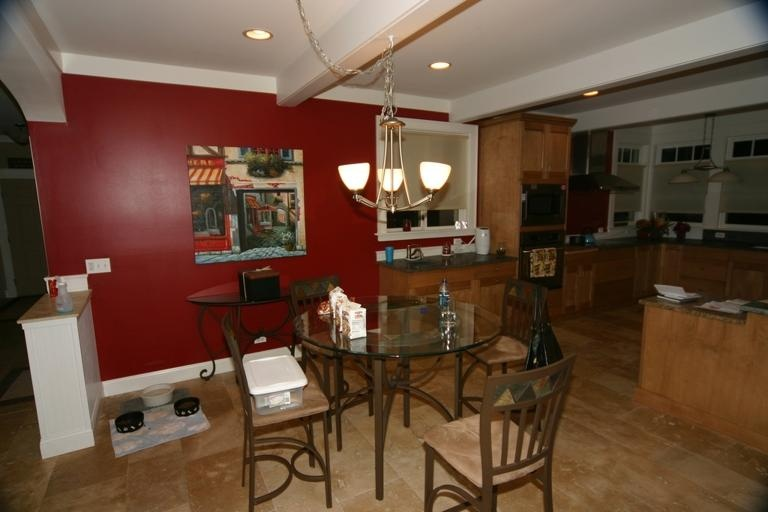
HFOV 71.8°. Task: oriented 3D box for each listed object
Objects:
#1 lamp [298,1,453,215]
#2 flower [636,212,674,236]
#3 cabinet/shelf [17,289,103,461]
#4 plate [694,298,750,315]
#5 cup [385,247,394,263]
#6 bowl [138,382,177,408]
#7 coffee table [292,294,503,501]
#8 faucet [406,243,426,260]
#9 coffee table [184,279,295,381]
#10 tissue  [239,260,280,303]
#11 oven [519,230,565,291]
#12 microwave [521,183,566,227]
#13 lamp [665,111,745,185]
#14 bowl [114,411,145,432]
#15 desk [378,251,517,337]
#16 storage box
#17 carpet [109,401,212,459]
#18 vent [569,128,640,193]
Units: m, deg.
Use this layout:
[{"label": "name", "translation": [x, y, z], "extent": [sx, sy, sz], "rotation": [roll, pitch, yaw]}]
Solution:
[{"label": "lamp", "translation": [0.040, -1.451, 5.802], "extent": [1.507, 1.981, 2.836], "rotation": [-4, 7, 1]}, {"label": "flower", "translation": [4.420, -0.489, 8.643], "extent": [0.459, 0.387, 0.451], "rotation": [-3, -10, 34]}, {"label": "cabinet/shelf", "translation": [-3.151, 1.136, 5.265], "extent": [0.542, 1.450, 0.697], "rotation": [-7, 9, -22]}, {"label": "plate", "translation": [3.350, 0.494, 5.269], "extent": [0.371, 0.068, 0.469], "rotation": [2, 9, 38]}, {"label": "cup", "translation": [0.074, -0.025, 6.856], "extent": [0.116, 0.204, 0.270], "rotation": [-4, 8, 1]}, {"label": "bowl", "translation": [-2.417, 1.478, 5.675], "extent": [0.244, 0.090, 0.245], "rotation": [5, 1, 0]}, {"label": "coffee table", "translation": [0.226, 0.911, 4.959], "extent": [1.771, 1.284, 1.775], "rotation": [5, 10, 33]}, {"label": "faucet", "translation": [0.413, -0.059, 6.963], "extent": [0.223, 0.205, 0.208], "rotation": [-2, 8, -14]}, {"label": "coffee table", "translation": [-1.571, 0.796, 6.011], "extent": [1.103, 0.873, 1.192], "rotation": [0, 8, -11]}, {"label": "tissue ", "translation": [-1.294, 0.269, 5.692], "extent": [0.375, 0.367, 0.357], "rotation": [-4, 7, -35]}, {"label": "oven", "translation": [2.236, 0.072, 7.534], "extent": [0.734, 0.777, 0.657], "rotation": [0, -4, -6]}, {"label": "microwave", "translation": [2.190, -0.695, 7.298], "extent": [0.907, 0.614, 0.536], "rotation": [-4, 6, -30]}, {"label": "lamp", "translation": [4.649, -1.551, 7.848], "extent": [1.078, 1.091, 1.053], "rotation": [10, 17, 44]}, {"label": "bowl", "translation": [-2.549, 1.658, 5.322], "extent": [0.208, 0.078, 0.202], "rotation": [5, 5, 0]}, {"label": "desk", "translation": [0.791, 0.635, 6.911], "extent": [2.029, 1.191, 0.755], "rotation": [-5, 9, -32]}, {"label": "storage box", "translation": [-0.953, 1.124, 4.693], "extent": [0.504, 0.364, 0.442], "rotation": [-6, 8, -14]}, {"label": "carpet", "translation": [-2.264, 1.724, 5.369], "extent": [0.886, 0.218, 0.565], "rotation": [-7, 8, -27]}, {"label": "vent", "translation": [3.270, -1.460, 8.234], "extent": [1.010, 1.018, 0.925], "rotation": [-4, 1, -21]}]
